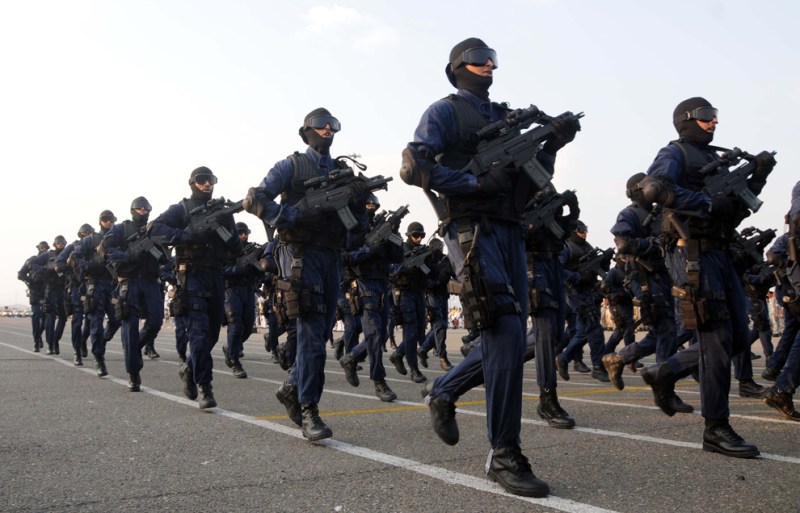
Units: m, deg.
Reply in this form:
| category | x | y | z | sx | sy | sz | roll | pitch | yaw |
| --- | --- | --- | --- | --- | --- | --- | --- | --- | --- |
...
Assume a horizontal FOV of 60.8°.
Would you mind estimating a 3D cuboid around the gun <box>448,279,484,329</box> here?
| category | x | y | z | sx | sy | sz | roll | pitch | yaw |
| --- | --- | --- | --- | --- | --- | --- | --- | --- | --- |
| gun | 0.586 | 0.426 | 6.153 | 0.176 | 0.460 | 0.431 | 4 | -6 | -31 |

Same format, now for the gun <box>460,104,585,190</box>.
| category | x | y | z | sx | sy | sz | roll | pitch | yaw |
| --- | --- | --- | --- | --- | --- | --- | --- | --- | --- |
| gun | 1.079 | -1.044 | 6.392 | 1.023 | 0.816 | 0.298 | 4 | -6 | -28 |
